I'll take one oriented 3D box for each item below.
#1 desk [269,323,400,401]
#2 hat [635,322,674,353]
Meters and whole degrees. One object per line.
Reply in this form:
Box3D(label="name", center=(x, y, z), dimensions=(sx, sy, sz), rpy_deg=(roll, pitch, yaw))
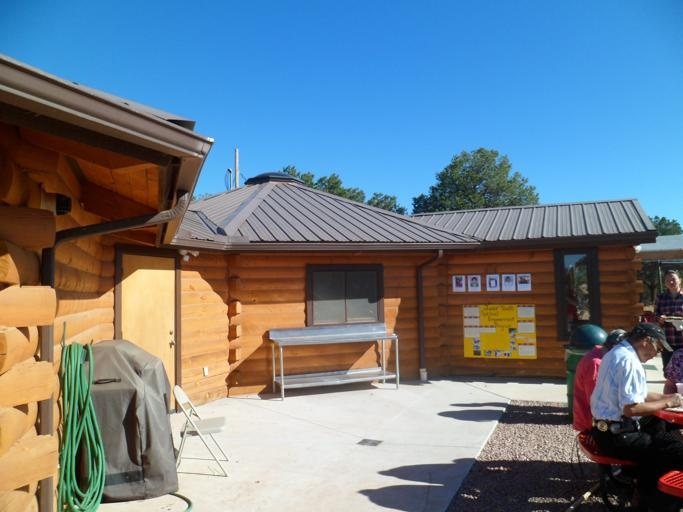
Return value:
Box3D(label="desk", center=(-0.089, 2.065, 10.853), dimensions=(2.635, 1.092, 0.711), rpy_deg=(1, -4, -21))
Box3D(label="hat", center=(3.259, 0.832, 5.540), dimensions=(0.445, 0.196, 0.279), rpy_deg=(23, -4, 4))
